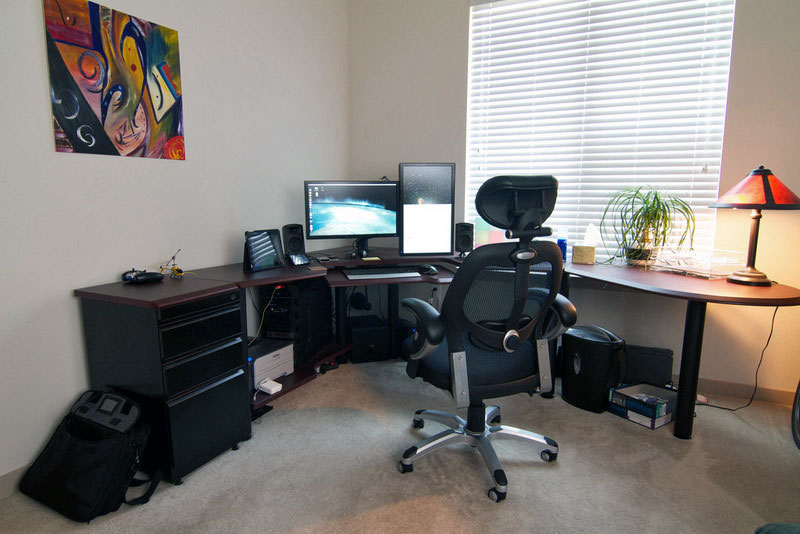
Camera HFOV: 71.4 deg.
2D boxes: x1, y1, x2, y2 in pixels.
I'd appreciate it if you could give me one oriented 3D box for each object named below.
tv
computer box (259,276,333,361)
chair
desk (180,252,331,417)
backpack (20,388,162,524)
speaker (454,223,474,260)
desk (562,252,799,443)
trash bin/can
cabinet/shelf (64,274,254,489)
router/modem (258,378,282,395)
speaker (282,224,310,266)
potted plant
[{"bbox_3d":[-0.392,-0.396,4.414,0.657,0.526,0.188,-1,7,-11],"label":"tv"},{"bbox_3d":[-0.788,0.365,4.382,0.297,0.582,0.475,3,10,25],"label":"computer box"},{"bbox_3d":[0.483,0.376,3.462,1.085,1.793,0.979,-6,13,-29],"label":"chair"},{"bbox_3d":[-1.005,0.530,4.087,0.872,0.767,0.874,-25,-2,25],"label":"desk"},{"bbox_3d":[-1.811,1.081,3.262,0.683,0.645,0.415,19,9,18],"label":"backpack"},{"bbox_3d":[0.520,-0.217,4.522,0.163,0.257,0.136,1,2,-9],"label":"speaker"},{"bbox_3d":[1.809,0.283,3.699,1.057,0.868,1.778,-4,13,-12],"label":"desk"},{"bbox_3d":[1.411,0.721,4.101,0.335,0.557,0.474,-3,5,-23],"label":"trash bin/can"},{"bbox_3d":[-1.559,0.601,3.833,1.167,1.652,1.033,2,9,22],"label":"cabinet/shelf"},{"bbox_3d":[-0.907,0.832,3.919,0.146,0.082,0.139,8,16,31],"label":"router/modem"},{"bbox_3d":[-0.783,-0.168,4.172,0.206,0.304,0.200,-3,3,36],"label":"speaker"},{"bbox_3d":[1.846,-0.267,4.223,0.686,0.560,0.627,5,-4,-4],"label":"potted plant"}]
